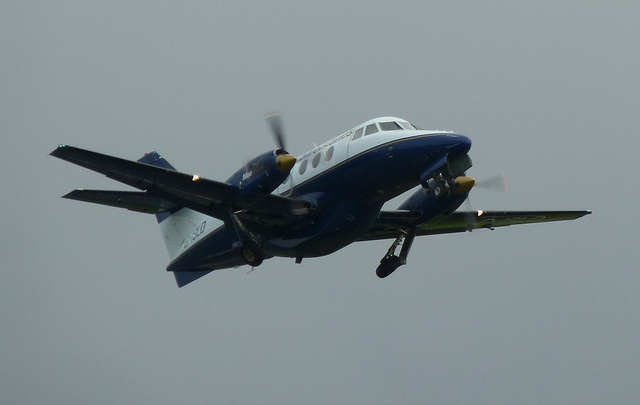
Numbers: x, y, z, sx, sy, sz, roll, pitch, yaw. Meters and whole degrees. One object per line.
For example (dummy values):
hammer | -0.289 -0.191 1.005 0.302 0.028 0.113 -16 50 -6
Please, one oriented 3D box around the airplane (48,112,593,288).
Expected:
airplane | -0.473 -0.169 32.145 14.486 4.977 4.696 -2 0 -29
